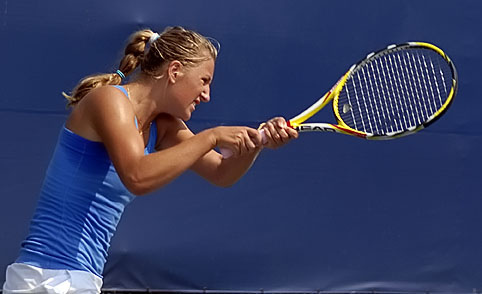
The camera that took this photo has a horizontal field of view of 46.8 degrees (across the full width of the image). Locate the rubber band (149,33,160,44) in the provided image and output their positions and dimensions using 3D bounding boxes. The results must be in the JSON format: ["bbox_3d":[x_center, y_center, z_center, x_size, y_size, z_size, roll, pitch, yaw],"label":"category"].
[{"bbox_3d":[-0.594,-0.753,3.837,0.074,0.091,0.028,1,-25,21],"label":"rubber band"}]
